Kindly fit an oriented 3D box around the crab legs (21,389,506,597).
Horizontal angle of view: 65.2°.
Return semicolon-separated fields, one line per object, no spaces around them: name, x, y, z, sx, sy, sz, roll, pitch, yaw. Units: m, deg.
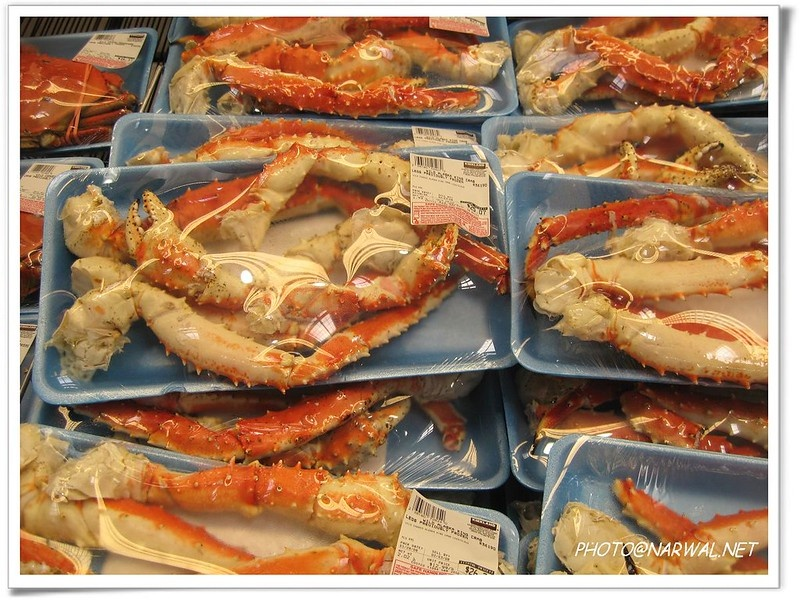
crab legs;-0.468;0.496;1.574;0.983;0.340;0.304;-6;29;1

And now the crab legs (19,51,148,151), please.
crab legs;-1.198;-0.742;2.345;0.411;0.118;0.371;18;55;-24

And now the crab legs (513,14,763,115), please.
crab legs;0.832;-0.858;2.250;0.585;0.223;0.424;-13;47;13
